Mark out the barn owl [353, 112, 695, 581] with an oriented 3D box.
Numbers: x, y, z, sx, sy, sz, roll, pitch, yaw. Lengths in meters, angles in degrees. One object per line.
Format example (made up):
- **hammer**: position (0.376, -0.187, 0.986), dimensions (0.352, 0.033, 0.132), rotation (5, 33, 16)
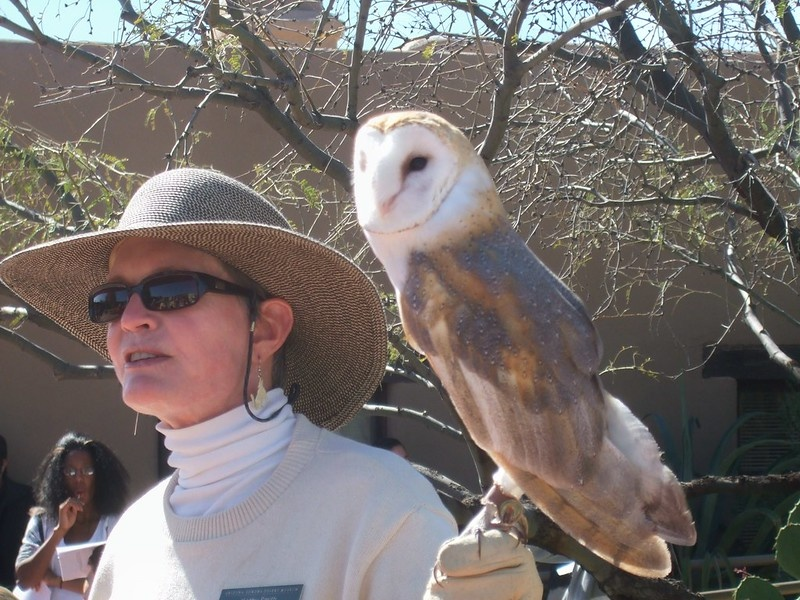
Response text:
- **barn owl**: position (0.458, 0.170, 4.756), dimensions (1.114, 1.877, 0.294), rotation (-5, -11, -11)
